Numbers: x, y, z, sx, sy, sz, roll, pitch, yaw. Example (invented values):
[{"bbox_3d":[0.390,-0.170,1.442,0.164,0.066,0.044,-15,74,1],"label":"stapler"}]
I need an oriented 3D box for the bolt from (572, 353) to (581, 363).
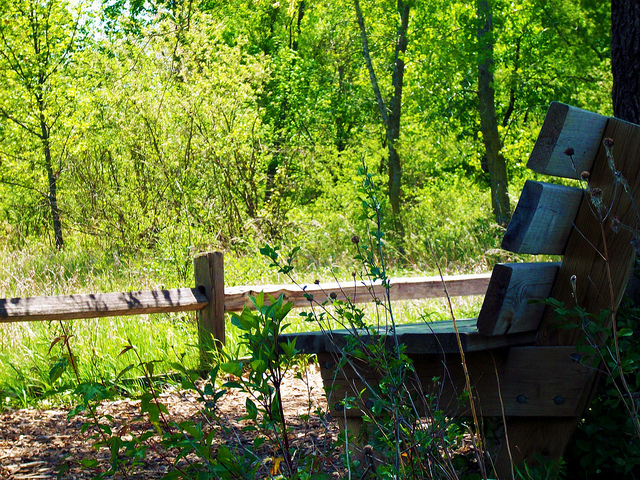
[{"bbox_3d":[1.803,0.843,6.000,0.055,0.070,0.091,4,10,22],"label":"bolt"}]

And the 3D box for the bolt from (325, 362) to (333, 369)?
[{"bbox_3d":[0.064,0.948,6.445,0.045,0.055,0.011,-5,2,5],"label":"bolt"}]

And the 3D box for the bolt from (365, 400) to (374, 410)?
[{"bbox_3d":[0.359,1.214,6.287,0.063,0.074,0.038,-18,-24,1],"label":"bolt"}]

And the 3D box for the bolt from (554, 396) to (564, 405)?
[{"bbox_3d":[1.694,1.142,6.054,0.061,0.059,0.010,2,9,6],"label":"bolt"}]

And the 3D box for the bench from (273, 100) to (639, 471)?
[{"bbox_3d":[1.225,0.417,6.128,2.032,2.790,0.841,0,9,-5],"label":"bench"}]
